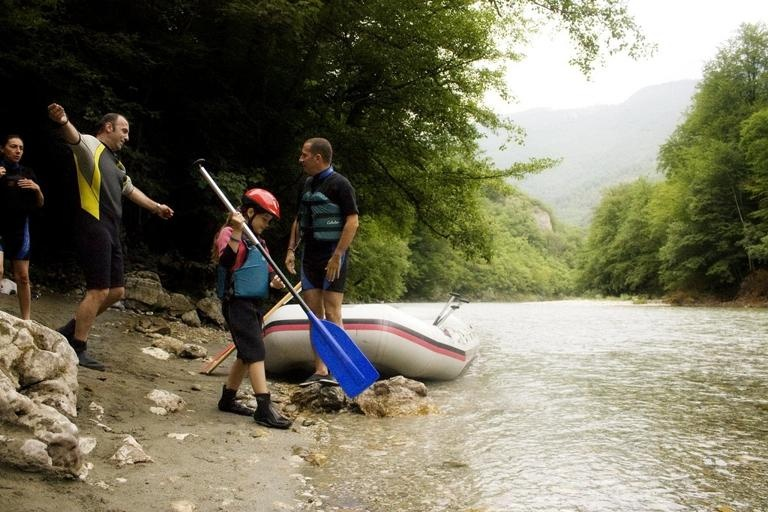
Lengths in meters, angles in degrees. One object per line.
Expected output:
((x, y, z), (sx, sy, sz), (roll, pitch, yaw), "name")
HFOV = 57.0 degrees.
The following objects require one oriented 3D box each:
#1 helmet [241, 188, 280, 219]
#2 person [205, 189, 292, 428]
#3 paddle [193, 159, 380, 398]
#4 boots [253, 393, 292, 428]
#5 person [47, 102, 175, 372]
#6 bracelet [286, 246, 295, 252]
((-1.516, -0.671, 8.801), (0.491, 0.243, 0.353), (17, 4, -3), "helmet")
((-1.643, 0.640, 8.645), (0.888, 2.842, 0.802), (2, 9, -14), "person")
((-1.075, 0.551, 8.664), (0.107, 3.082, 0.559), (-42, 20, -18), "paddle")
((-1.351, 1.886, 8.629), (0.541, 0.370, 0.237), (9, 13, 22), "boots")
((-3.516, -0.179, 8.598), (0.609, 3.176, 1.279), (8, 10, 23), "person")
((-1.393, -0.094, 10.555), (0.090, 0.108, 0.239), (-2, 9, -12), "bracelet")
